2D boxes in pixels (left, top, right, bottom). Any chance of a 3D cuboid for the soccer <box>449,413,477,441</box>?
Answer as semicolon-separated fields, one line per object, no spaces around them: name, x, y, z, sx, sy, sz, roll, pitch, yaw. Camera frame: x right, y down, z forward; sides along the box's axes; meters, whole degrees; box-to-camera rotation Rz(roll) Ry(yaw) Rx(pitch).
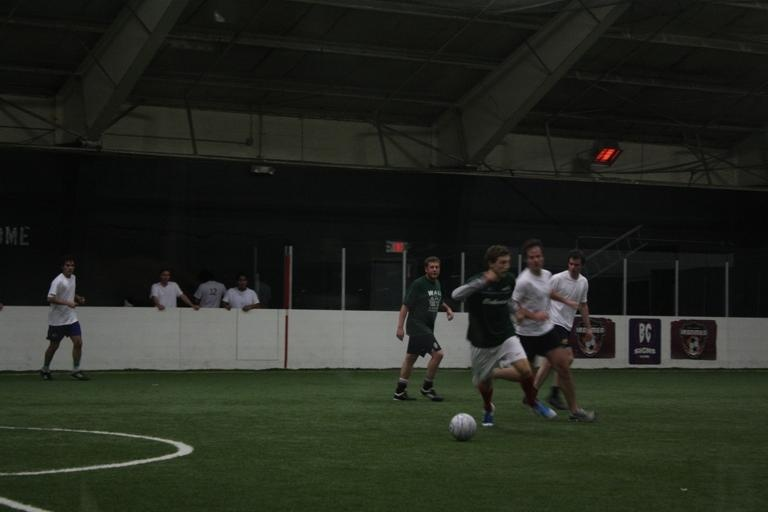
soccer;1.157;2.540;13.977;0.380;0.348;0.356;5;-17;-8

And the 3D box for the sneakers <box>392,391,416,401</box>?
sneakers;0.364;2.669;17.883;0.494;0.203;0.161;2;-4;-7

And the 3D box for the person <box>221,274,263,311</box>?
person;-3.596;0.929;23.972;0.945;0.946;0.373;2;-6;-9

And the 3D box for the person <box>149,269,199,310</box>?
person;-5.190;1.116;23.425;1.008;1.485;0.919;-7;7;-20

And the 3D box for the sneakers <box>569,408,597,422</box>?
sneakers;3.274;2.621;15.500;0.431;0.185;0.201;-1;0;-6

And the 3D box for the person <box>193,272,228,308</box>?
person;-4.399;0.873;23.846;0.864;0.739;0.445;2;-9;-20

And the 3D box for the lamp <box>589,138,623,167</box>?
lamp;6.652;-3.101;28.361;0.811;0.774;0.358;14;4;-10

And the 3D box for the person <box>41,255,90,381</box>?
person;-6.815;1.393;20.455;0.887;2.597;1.198;3;-7;-18

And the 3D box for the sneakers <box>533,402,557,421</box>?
sneakers;2.642;2.573;15.559;0.445;0.184;0.226;6;3;10
